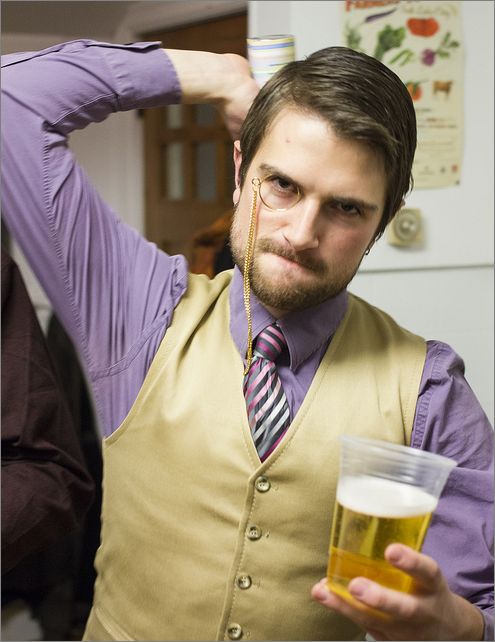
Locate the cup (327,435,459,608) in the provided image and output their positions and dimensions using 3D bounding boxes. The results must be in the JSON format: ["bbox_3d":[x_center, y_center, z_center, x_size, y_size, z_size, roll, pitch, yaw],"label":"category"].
[{"bbox_3d":[0.141,0.219,0.733,0.141,0.147,0.120,16,-14,-13],"label":"cup"}]
